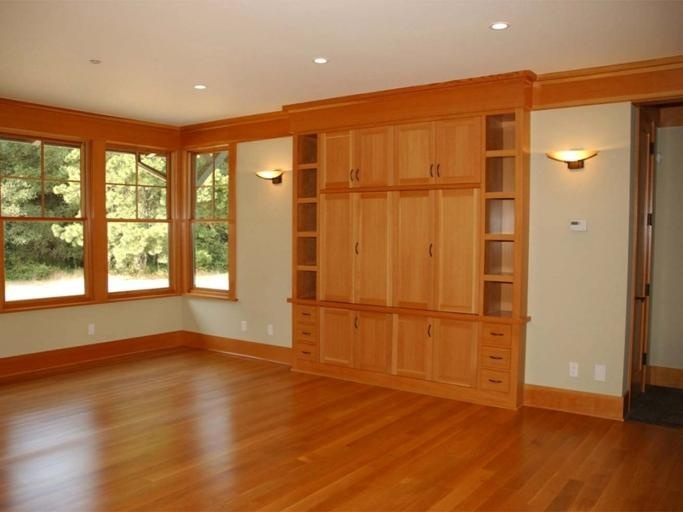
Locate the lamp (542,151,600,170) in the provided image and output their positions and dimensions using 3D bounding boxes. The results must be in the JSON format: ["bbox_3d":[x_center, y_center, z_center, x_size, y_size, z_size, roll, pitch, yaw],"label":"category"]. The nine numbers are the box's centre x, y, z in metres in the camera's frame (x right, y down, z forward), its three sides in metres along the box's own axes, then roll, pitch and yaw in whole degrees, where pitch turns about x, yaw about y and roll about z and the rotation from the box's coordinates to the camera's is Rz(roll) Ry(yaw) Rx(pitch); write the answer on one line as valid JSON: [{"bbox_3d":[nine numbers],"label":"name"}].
[{"bbox_3d":[2.218,-0.929,5.041,0.430,0.203,0.194,3,7,26],"label":"lamp"}]

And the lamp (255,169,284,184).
[{"bbox_3d":[-0.897,-1.037,6.800,0.326,0.168,0.216,2,4,26],"label":"lamp"}]
